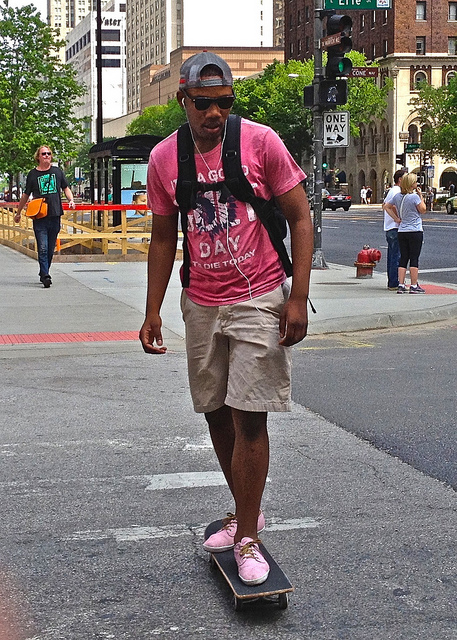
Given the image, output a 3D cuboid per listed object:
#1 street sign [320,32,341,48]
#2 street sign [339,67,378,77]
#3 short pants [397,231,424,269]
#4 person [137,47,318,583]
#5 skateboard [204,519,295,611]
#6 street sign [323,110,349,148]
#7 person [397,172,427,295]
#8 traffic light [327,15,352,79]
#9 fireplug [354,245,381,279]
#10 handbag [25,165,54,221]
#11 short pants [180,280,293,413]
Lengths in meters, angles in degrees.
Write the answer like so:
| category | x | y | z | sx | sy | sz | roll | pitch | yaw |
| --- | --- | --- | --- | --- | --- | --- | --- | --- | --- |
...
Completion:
| category | x | y | z | sx | sy | sz | roll | pitch | yaw |
| --- | --- | --- | --- | --- | --- | --- | --- | --- | --- |
| street sign | 1.775 | -4.848 | 14.042 | 0.197 | 0.218 | 0.773 | -2 | 6 | -8 |
| street sign | 2.308 | -4.389 | 14.308 | 0.679 | 0.209 | 0.440 | 0 | 6 | 6 |
| short pants | 2.692 | -1.050 | 12.024 | 0.342 | 0.541 | 0.365 | 0 | 7 | 9 |
| person | 0.031 | -0.054 | 2.743 | 0.505 | 1.695 | 0.845 | -3 | 7 | -17 |
| skateboard | 0.074 | 0.768 | 2.517 | 0.233 | 0.139 | 0.496 | -1 | 3 | -19 |
| street sign | 2.031 | -3.621 | 15.249 | 0.483 | 0.686 | 0.565 | 0 | 6 | 7 |
| person | 2.716 | -1.294 | 12.024 | 0.399 | 1.797 | 0.626 | 0 | 7 | 11 |
| traffic light | 1.935 | -4.845 | 14.022 | 0.424 | 1.116 | 1.167 | 0 | 6 | 8 |
| fireplug | 2.428 | -1.012 | 14.174 | 0.585 | 0.637 | 0.559 | -2 | 12 | 2 |
| handbag | -2.902 | -1.895 | 12.425 | 0.390 | 0.717 | 0.561 | -2 | 7 | -9 |
| short pants | 0.011 | 0.103 | 2.756 | 0.401 | 0.461 | 0.317 | 0 | 7 | 8 |
